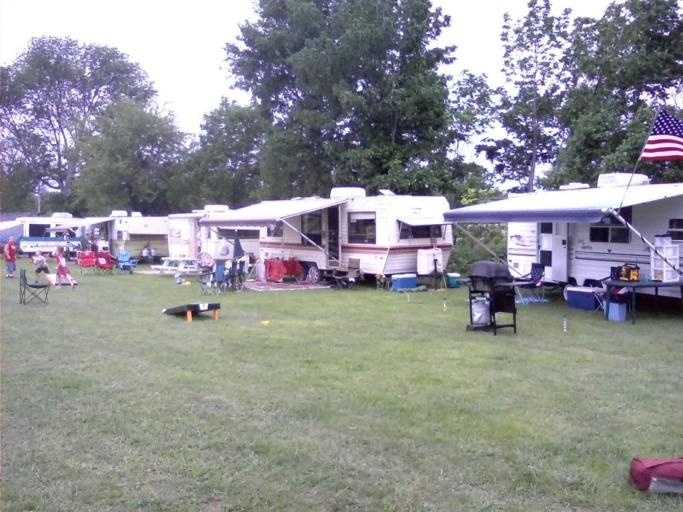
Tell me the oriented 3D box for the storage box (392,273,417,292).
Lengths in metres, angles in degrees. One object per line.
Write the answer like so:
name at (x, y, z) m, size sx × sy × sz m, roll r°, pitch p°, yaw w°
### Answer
storage box at (1.801, 0.644, 18.242) m, size 0.766 × 0.537 × 0.414 m, roll -1°, pitch 4°, yaw -34°

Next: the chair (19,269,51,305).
chair at (-7.425, 0.769, 15.577) m, size 0.521 × 0.705 × 0.449 m, roll 3°, pitch -2°, yaw 19°

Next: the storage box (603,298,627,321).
storage box at (5.608, 1.078, 13.159) m, size 0.384 × 0.410 × 0.458 m, roll 1°, pitch -1°, yaw -24°

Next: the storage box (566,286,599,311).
storage box at (5.451, 0.955, 14.398) m, size 0.406 × 0.485 × 0.739 m, roll 2°, pitch 1°, yaw 34°

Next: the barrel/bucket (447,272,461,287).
barrel/bucket at (3.348, 0.694, 19.025) m, size 0.551 × 0.534 × 0.349 m, roll 0°, pitch 3°, yaw -23°

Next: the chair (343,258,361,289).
chair at (0.422, 0.471, 19.146) m, size 0.604 × 1.063 × 0.766 m, roll 0°, pitch -1°, yaw 24°

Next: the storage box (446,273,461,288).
storage box at (3.351, 0.703, 19.039) m, size 0.559 × 0.552 × 0.350 m, roll 0°, pitch 3°, yaw -27°

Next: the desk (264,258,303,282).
desk at (-1.883, 0.427, 20.947) m, size 0.998 × 0.792 × 1.076 m, roll -7°, pitch 12°, yaw -36°

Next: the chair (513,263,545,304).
chair at (4.840, 0.649, 16.310) m, size 0.729 × 0.985 × 0.876 m, roll -26°, pitch 20°, yaw -28°

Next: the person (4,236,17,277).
person at (-11.103, 0.078, 21.296) m, size 0.323 × 1.375 × 1.341 m, roll -6°, pitch 12°, yaw -28°
